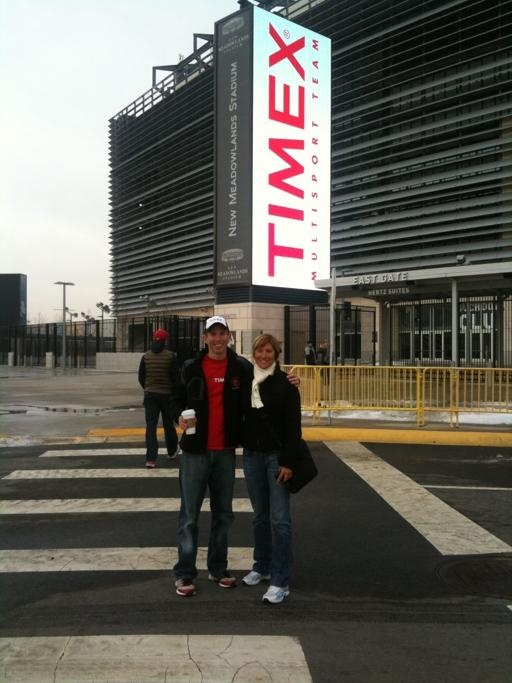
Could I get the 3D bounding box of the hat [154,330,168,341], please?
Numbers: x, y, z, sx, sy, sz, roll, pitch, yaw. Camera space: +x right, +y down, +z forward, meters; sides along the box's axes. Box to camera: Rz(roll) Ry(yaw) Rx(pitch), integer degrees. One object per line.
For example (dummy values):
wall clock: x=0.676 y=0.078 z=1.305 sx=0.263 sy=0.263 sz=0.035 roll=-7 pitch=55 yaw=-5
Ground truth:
hat: x=-1.260 y=-0.078 z=9.116 sx=0.124 sy=0.113 sz=0.190 roll=-13 pitch=17 yaw=-5

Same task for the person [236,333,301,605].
person: x=0.120 y=0.782 z=4.465 sx=0.365 sy=1.660 sz=0.528 roll=0 pitch=-1 yaw=-13

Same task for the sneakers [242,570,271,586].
sneakers: x=0.001 y=1.569 z=4.592 sx=0.071 sy=0.090 sz=0.199 roll=-10 pitch=-18 yaw=41

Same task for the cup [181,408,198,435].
cup: x=-0.414 y=0.498 z=4.330 sx=0.130 sy=0.164 sz=0.139 roll=1 pitch=-2 yaw=0

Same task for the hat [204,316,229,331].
hat: x=-0.268 y=-0.137 z=4.542 sx=0.132 sy=0.099 sz=0.218 roll=2 pitch=-8 yaw=-5

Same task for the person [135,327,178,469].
person: x=-1.298 y=0.732 z=9.185 sx=0.507 sy=1.772 sz=0.810 roll=0 pitch=-1 yaw=-8

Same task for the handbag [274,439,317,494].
handbag: x=0.289 y=0.807 z=4.443 sx=0.195 sy=0.353 sz=0.237 roll=0 pitch=-1 yaw=6

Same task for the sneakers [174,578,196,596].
sneakers: x=-0.450 y=1.551 z=4.414 sx=0.130 sy=0.100 sz=0.211 roll=0 pitch=0 yaw=-6

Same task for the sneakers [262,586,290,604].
sneakers: x=0.132 y=1.558 z=4.258 sx=0.069 sy=0.076 sz=0.178 roll=-10 pitch=-25 yaw=27

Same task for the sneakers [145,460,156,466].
sneakers: x=-1.370 y=1.579 z=8.927 sx=0.061 sy=0.071 sz=0.176 roll=-1 pitch=1 yaw=4
